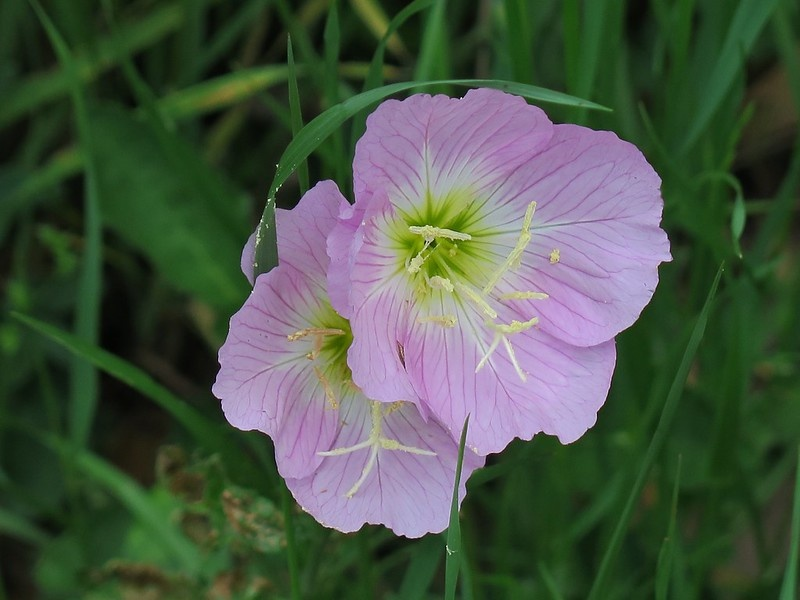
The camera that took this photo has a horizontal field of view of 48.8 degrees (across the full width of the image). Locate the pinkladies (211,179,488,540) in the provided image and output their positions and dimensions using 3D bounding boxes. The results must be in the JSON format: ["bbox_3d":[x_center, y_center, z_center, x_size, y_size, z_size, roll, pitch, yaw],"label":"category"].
[{"bbox_3d":[-0.135,0.067,1.336,0.324,0.146,0.467,-21,37,24],"label":"pinkladies"}]
